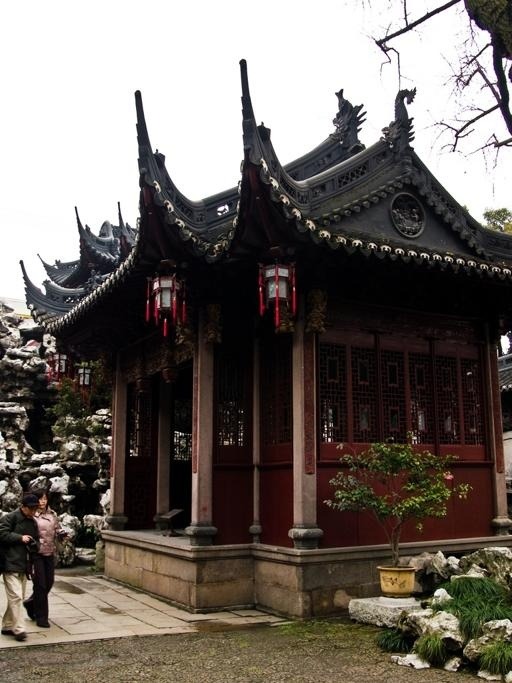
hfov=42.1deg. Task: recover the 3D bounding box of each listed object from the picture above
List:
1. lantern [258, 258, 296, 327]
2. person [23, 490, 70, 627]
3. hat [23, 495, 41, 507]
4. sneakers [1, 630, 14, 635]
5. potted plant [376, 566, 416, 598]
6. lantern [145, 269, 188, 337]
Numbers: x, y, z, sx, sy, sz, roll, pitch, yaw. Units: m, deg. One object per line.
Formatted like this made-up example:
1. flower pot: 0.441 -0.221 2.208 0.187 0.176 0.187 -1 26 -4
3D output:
1. lantern: 0.236 -0.449 6.722 0.405 0.636 0.379 -7 -1 -16
2. person: -2.166 2.202 6.788 0.587 1.335 0.473 -4 -10 6
3. hat: -2.103 1.502 6.232 0.105 0.075 0.128 7 -10 -37
4. sneakers: -2.258 2.647 6.027 0.057 0.062 0.163 15 -30 -38
5. potted plant: 1.356 2.286 6.302 0.332 0.234 0.331 -22 -36 36
6. lantern: -0.973 -0.458 7.159 0.408 0.709 0.386 14 -11 -30
